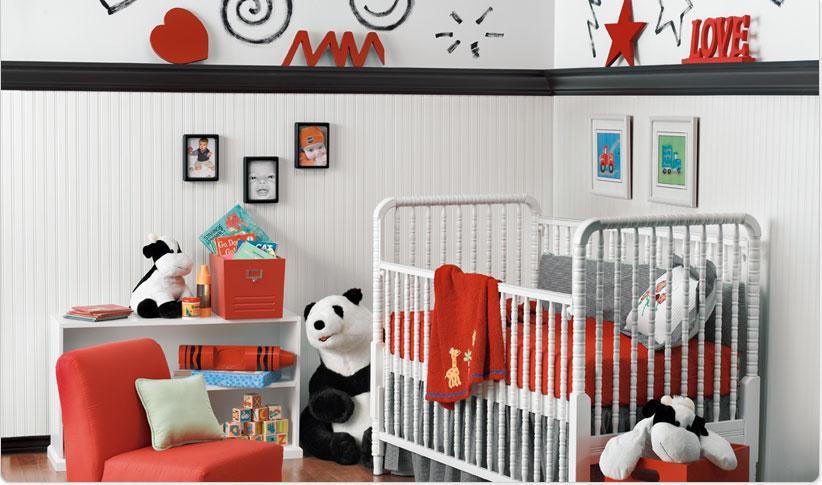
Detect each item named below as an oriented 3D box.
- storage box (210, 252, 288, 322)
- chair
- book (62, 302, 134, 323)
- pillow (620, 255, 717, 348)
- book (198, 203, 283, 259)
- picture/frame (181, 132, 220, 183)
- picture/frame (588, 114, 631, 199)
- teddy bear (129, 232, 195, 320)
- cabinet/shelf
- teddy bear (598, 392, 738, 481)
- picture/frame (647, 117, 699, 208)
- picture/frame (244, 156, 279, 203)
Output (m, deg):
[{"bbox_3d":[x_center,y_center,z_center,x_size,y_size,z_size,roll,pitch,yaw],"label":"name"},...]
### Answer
[{"bbox_3d":[-1.132,0.408,5.338,0.466,0.412,0.596,-2,-18,-2],"label":"storage box"},{"bbox_3d":[-1.394,0.906,4.189,1.121,0.861,0.731,-1,0,26],"label":"chair"},{"bbox_3d":[-2.173,0.485,4.986,0.422,0.091,0.153,-2,6,-2],"label":"book"},{"bbox_3d":[1.528,0.347,4.267,0.655,0.486,0.323,-3,6,-13],"label":"pillow"},{"bbox_3d":[-1.252,-0.073,5.238,0.542,0.385,0.419,-3,6,-12],"label":"book"},{"bbox_3d":[-1.566,-0.622,5.325,0.354,0.474,0.050,0,3,-11],"label":"picture/frame"},{"bbox_3d":[1.482,-0.637,5.376,0.052,0.732,0.630,-1,2,-21],"label":"picture/frame"},{"bbox_3d":[-1.783,0.244,5.226,0.508,0.616,0.434,4,6,-5],"label":"teddy bear"},{"bbox_3d":[-1.518,0.911,4.575,1.081,0.649,0.380,-1,1,-26],"label":"cabinet/shelf"},{"bbox_3d":[1.377,1.047,3.877,0.671,0.446,0.411,1,-13,-8],"label":"teddy bear"},{"bbox_3d":[1.764,-0.536,4.844,0.056,0.739,0.607,-1,2,-23],"label":"picture/frame"},{"bbox_3d":[-1.138,-0.473,5.416,0.334,0.457,0.049,1,2,-18],"label":"picture/frame"}]
